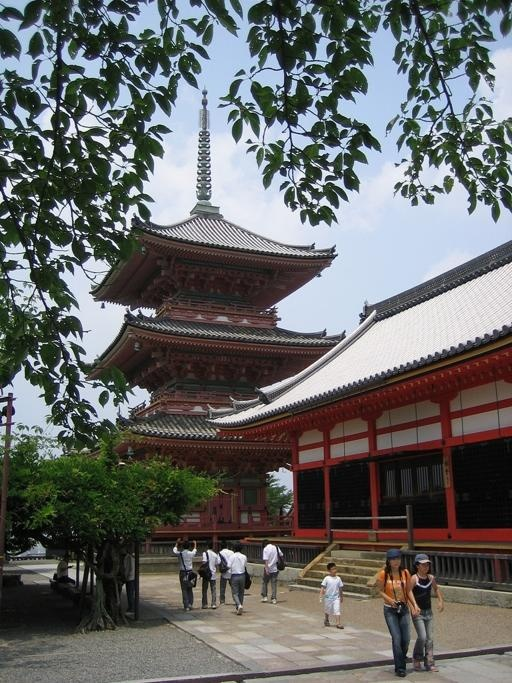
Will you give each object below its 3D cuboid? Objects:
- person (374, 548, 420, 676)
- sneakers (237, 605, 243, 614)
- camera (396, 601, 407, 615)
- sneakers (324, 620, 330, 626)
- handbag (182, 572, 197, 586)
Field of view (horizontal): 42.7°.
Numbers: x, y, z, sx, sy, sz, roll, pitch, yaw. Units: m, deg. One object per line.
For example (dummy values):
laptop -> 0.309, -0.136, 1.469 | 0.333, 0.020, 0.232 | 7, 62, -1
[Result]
person -> 1.650, 3.128, 7.543 | 0.530, 1.303, 0.351 | -10, -19, 29
sneakers -> -0.302, 5.136, 12.462 | 0.085, 0.088, 0.203 | 1, -56, -8
camera -> 1.657, 3.045, 7.486 | 0.135, 0.103, 0.202 | 6, -21, 13
sneakers -> 1.178, 4.661, 10.849 | 0.124, 0.104, 0.069 | -5, -12, 20
handbag -> -1.328, 4.815, 13.278 | 0.259, 0.295, 0.196 | 12, -20, -36
